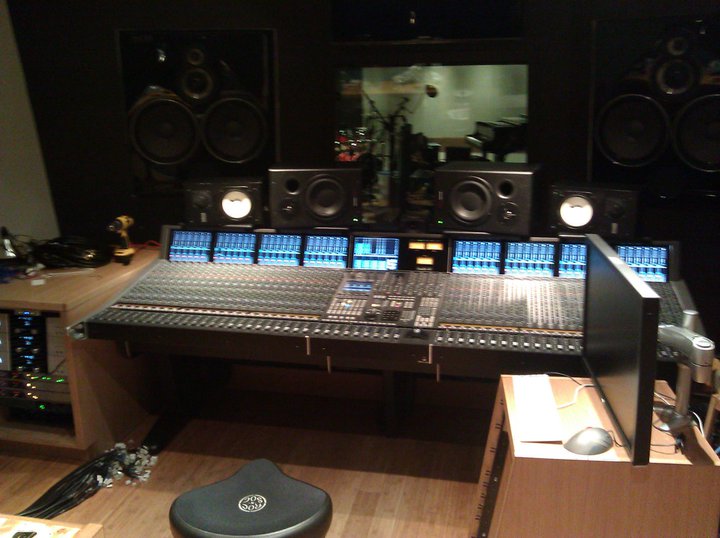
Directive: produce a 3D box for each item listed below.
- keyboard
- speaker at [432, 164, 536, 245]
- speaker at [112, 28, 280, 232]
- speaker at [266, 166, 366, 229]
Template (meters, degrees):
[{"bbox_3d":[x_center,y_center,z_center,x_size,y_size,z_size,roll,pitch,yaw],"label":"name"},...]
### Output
[{"bbox_3d":[0.533,0.417,1.627,0.131,0.020,0.299,-2,29,13],"label":"keyboard"},{"bbox_3d":[0.631,-0.337,2.743,0.665,0.373,0.361,3,15,16],"label":"speaker"},{"bbox_3d":[-0.941,-0.787,3.133,1.058,1.188,0.411,8,7,18],"label":"speaker"},{"bbox_3d":[-0.237,-0.379,2.860,0.615,0.341,0.321,0,10,-1],"label":"speaker"}]
